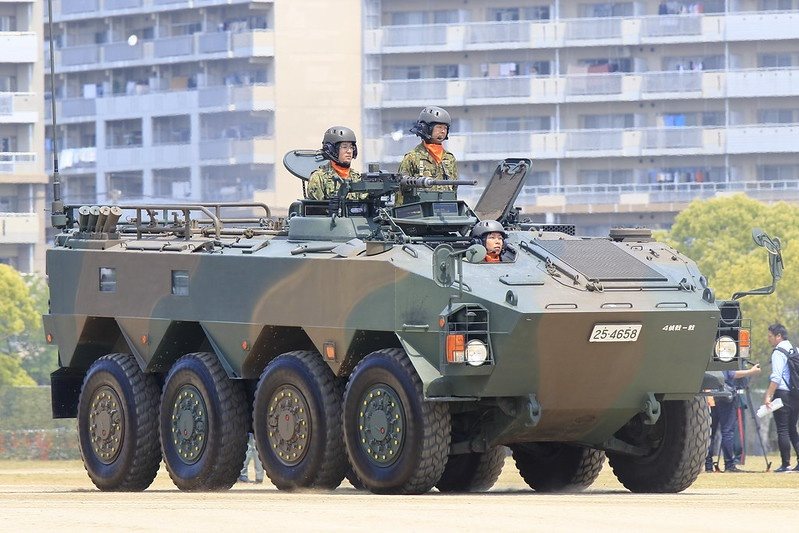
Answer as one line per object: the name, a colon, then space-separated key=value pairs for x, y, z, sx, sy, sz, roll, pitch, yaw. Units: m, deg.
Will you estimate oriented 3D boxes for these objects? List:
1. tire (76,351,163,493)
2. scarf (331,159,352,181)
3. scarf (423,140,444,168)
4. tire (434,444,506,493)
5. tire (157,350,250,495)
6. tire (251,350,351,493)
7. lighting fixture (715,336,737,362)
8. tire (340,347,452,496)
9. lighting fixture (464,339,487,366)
tire: x=-6.170 y=3.386 z=43.131 sx=0.720 sy=2.083 sz=2.349 roll=-5 pitch=-26 yaw=-40
scarf: x=-1.316 y=-2.097 z=43.234 sx=0.336 sy=0.286 sz=0.462 roll=-11 pitch=-43 yaw=24
scarf: x=0.785 y=-2.491 z=43.220 sx=0.381 sy=0.402 sz=0.448 roll=1 pitch=-4 yaw=-32
tire: x=1.470 y=4.312 z=42.143 sx=1.157 sy=1.231 sz=0.472 roll=5 pitch=6 yaw=13
tire: x=-4.226 y=3.309 z=42.110 sx=0.831 sy=2.484 sz=2.723 roll=-2 pitch=7 yaw=-38
tire: x=-2.075 y=3.247 z=41.032 sx=2.010 sy=2.910 sz=0.426 roll=-1 pitch=-2 yaw=28
lighting fixture: x=6.790 y=1.704 z=40.647 sx=0.471 sy=0.495 sz=0.113 roll=7 pitch=-4 yaw=-13
tire: x=-0.053 y=3.066 z=39.765 sx=2.397 sy=2.901 sz=0.892 roll=-15 pitch=-8 yaw=36
lighting fixture: x=1.490 y=1.722 z=39.193 sx=0.496 sy=0.523 sz=0.175 roll=0 pitch=3 yaw=-16
